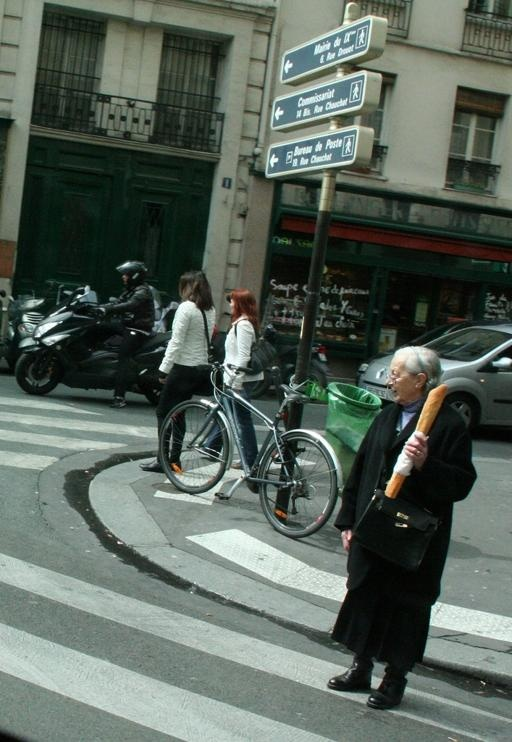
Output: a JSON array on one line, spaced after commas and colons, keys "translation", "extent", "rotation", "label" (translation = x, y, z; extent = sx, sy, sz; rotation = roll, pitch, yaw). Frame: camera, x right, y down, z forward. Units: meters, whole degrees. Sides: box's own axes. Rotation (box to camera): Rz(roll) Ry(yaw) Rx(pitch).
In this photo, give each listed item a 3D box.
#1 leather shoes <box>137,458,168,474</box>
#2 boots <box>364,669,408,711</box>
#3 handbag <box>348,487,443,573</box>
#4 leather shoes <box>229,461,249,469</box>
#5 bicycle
[{"translation": [-0.940, 0.830, 6.768], "extent": [0.294, 0.103, 0.094], "rotation": [4, 6, 17], "label": "leather shoes"}, {"translation": [0.524, 1.218, 2.958], "extent": [0.080, 0.098, 0.234], "rotation": [5, -9, 37], "label": "boots"}, {"translation": [0.522, 0.585, 2.822], "extent": [0.320, 0.253, 0.120], "rotation": [23, 3, 22], "label": "handbag"}, {"translation": [-0.162, 0.782, 6.389], "extent": [0.096, 0.041, 0.121], "rotation": [0, -3, 9], "label": "leather shoes"}, {"translation": [-0.049, 0.532, 5.718], "extent": [0.573, 1.217, 1.980], "rotation": [10, 1, -32], "label": "bicycle"}]
